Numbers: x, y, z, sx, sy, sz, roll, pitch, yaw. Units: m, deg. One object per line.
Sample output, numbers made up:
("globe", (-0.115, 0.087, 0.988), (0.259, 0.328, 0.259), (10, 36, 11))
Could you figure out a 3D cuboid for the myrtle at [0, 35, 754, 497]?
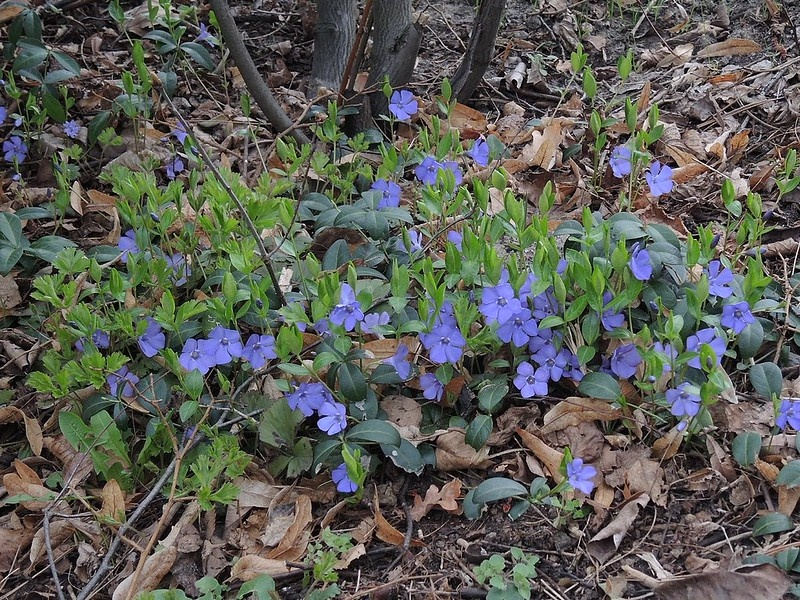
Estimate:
("myrtle", (-0.129, -0.127, 3.331), (2.460, 0.894, 1.756), (-2, 76, -5))
